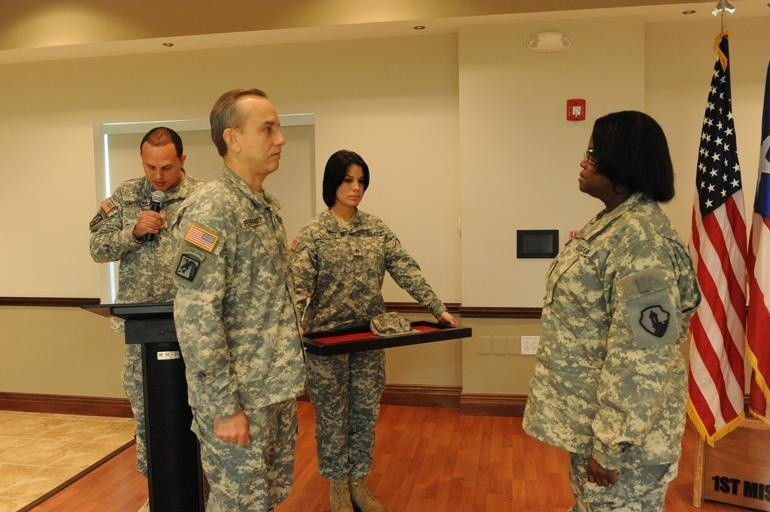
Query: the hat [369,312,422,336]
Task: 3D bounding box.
[{"bbox_3d":[0.055,0.449,4.165,0.299,0.126,0.339,-3,4,-4],"label":"hat"}]
